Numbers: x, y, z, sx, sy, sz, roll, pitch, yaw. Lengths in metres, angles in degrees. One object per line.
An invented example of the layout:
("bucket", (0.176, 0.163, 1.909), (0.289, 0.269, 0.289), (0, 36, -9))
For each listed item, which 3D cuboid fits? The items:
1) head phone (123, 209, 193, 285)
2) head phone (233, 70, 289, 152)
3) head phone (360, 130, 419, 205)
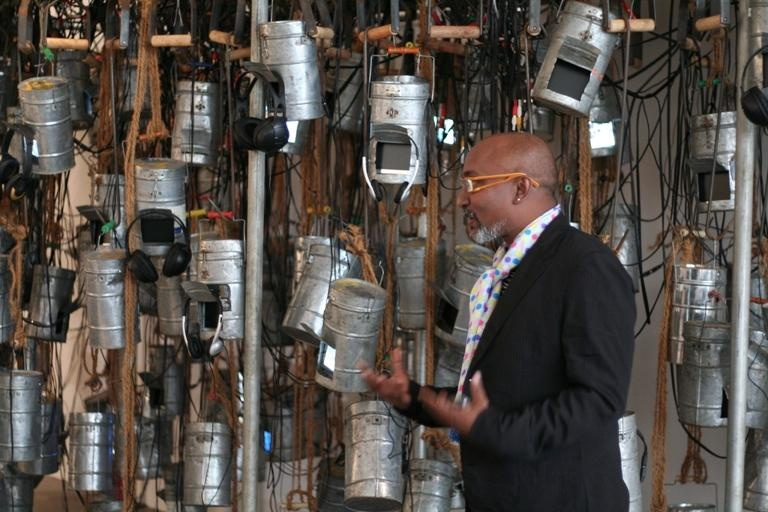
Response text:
("head phone", (-1.209, -0.054, 8.242), (0.285, 0.408, 0.189), (-1, -14, -4))
("head phone", (-0.631, -0.744, 7.937), (0.175, 0.514, 0.346), (-1, 5, -31))
("head phone", (0.042, -0.487, 7.859), (0.254, 0.395, 0.139), (-1, -7, 8))
